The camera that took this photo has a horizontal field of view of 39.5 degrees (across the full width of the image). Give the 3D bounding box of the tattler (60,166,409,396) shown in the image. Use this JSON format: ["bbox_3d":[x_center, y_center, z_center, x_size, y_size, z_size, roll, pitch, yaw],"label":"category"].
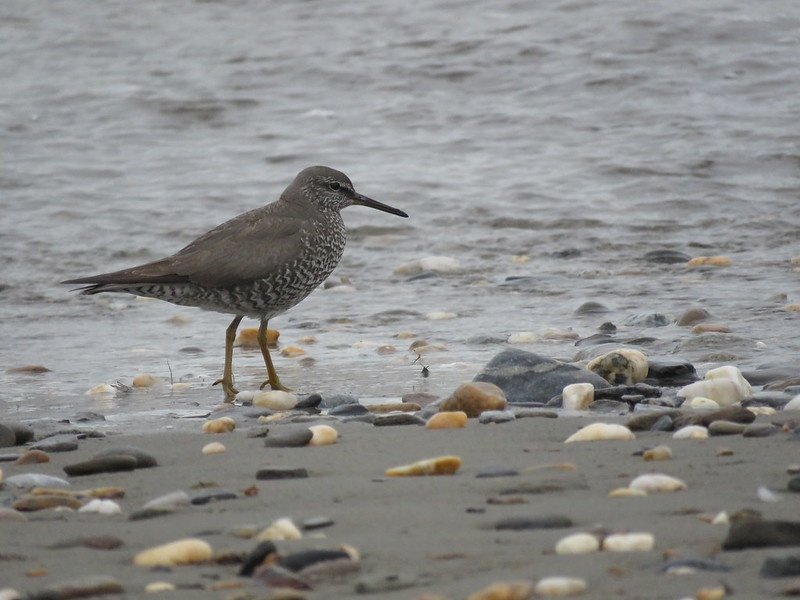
[{"bbox_3d":[-1.503,-0.325,11.786,4.014,1.609,1.218,-6,10,5],"label":"tattler"}]
